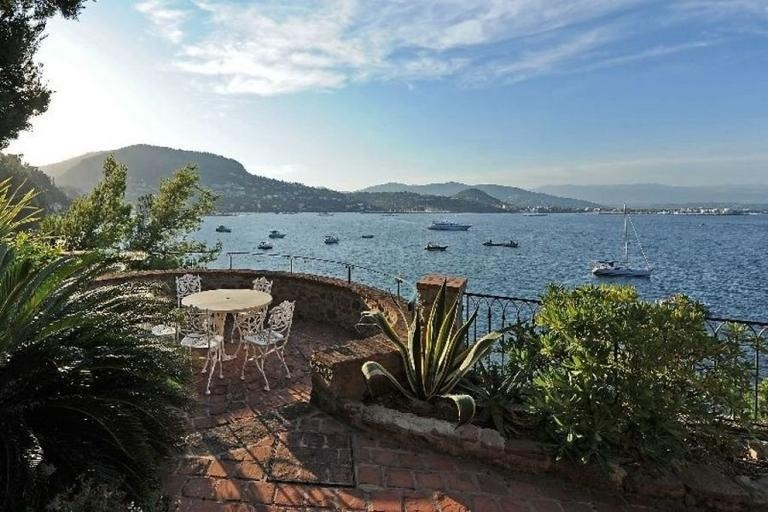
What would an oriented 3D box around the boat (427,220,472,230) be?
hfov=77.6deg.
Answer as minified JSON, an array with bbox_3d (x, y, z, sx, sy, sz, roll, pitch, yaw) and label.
[{"bbox_3d":[13.240,-6.271,99.921,6.863,1.575,9.216,1,8,-1],"label":"boat"}]

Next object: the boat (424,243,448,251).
[{"bbox_3d":[6.641,-0.993,60.549,2.150,0.733,1.460,2,-2,-8],"label":"boat"}]
